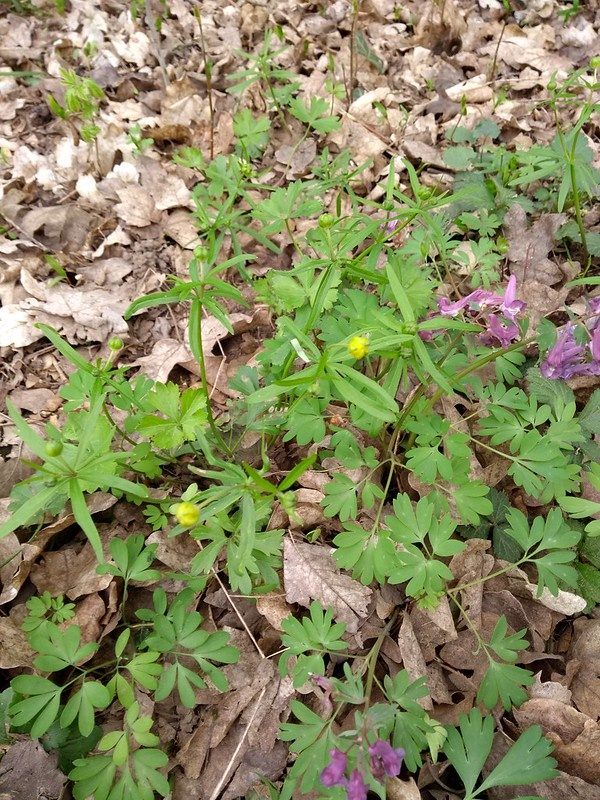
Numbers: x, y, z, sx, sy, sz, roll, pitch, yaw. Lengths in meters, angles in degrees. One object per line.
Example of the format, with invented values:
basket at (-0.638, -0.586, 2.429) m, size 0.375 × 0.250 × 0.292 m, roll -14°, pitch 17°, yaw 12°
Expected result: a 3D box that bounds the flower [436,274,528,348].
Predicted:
flower at (0.676, -0.372, 2.655) m, size 0.365 × 0.264 × 0.355 m, roll 6°, pitch 25°, yaw 10°
